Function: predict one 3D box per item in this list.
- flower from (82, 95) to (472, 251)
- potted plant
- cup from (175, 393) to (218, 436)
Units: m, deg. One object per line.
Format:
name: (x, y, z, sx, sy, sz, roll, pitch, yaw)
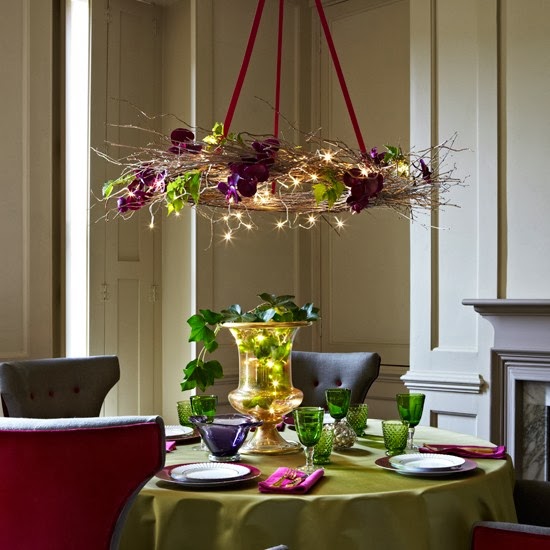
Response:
flower: (-0.047, -0.514, 2.951, 1.183, 0.373, 1.133, -2, -3, 32)
potted plant: (-0.067, 0.316, 1.765, 0.386, 0.462, 0.327, -1, 4, -9)
cup: (-0.252, 0.452, 1.867, 0.114, 0.107, 0.139, 1, -8, -7)
